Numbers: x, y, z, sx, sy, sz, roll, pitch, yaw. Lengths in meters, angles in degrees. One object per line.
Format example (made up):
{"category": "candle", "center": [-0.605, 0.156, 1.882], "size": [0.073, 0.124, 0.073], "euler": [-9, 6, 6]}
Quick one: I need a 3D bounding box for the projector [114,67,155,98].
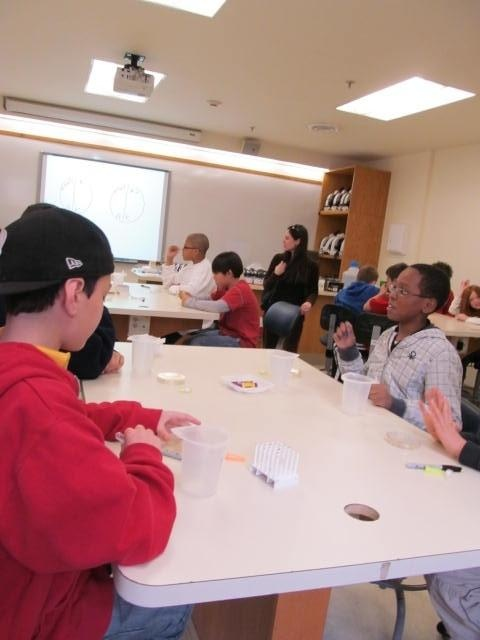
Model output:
{"category": "projector", "center": [-0.923, -2.079, 4.161], "size": [0.304, 0.210, 0.240], "euler": [3, 9, -23]}

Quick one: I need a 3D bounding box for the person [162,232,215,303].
{"category": "person", "center": [-0.465, -0.480, 4.435], "size": [0.464, 0.580, 0.717], "euler": [-11, 16, -37]}

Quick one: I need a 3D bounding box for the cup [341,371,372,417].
{"category": "cup", "center": [0.318, 0.198, 1.382], "size": [0.102, 0.092, 0.106], "euler": [2, 20, -1]}

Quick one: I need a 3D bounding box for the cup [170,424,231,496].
{"category": "cup", "center": [-0.065, 0.237, 0.865], "size": [0.084, 0.113, 0.121], "euler": [-4, 12, -26]}

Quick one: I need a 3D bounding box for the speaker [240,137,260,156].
{"category": "speaker", "center": [0.119, -2.327, 6.510], "size": [0.263, 0.241, 0.165], "euler": [2, 10, -30]}

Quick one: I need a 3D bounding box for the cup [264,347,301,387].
{"category": "cup", "center": [0.152, 0.159, 1.639], "size": [0.113, 0.098, 0.105], "euler": [8, 11, -1]}

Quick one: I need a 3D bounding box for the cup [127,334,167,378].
{"category": "cup", "center": [-0.310, 0.123, 1.557], "size": [0.120, 0.117, 0.094], "euler": [-6, -11, 33]}
